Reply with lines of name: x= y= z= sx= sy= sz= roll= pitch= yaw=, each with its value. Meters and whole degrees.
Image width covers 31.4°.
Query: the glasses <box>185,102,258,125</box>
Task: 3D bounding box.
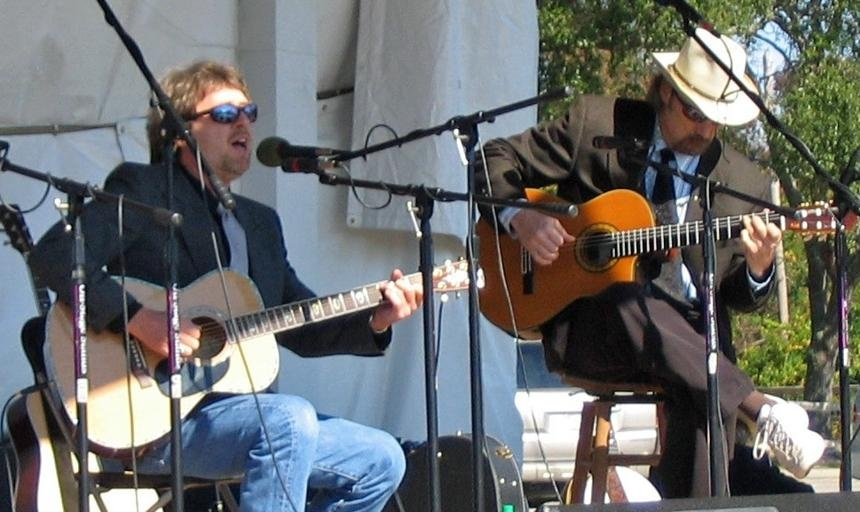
glasses: x=-1.426 y=-1.004 z=10.735 sx=0.286 sy=0.100 sz=0.228 roll=-8 pitch=3 yaw=23

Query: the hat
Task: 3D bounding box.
hat: x=1.985 y=-1.375 z=10.916 sx=0.701 sy=0.342 sz=0.801 roll=-15 pitch=31 yaw=-42

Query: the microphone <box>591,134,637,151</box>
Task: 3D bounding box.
microphone: x=1.345 y=-0.821 z=11.140 sx=0.360 sy=0.120 sz=0.092 roll=9 pitch=11 yaw=16

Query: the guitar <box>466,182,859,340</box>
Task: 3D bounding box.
guitar: x=1.701 y=0.024 z=11.095 sx=2.634 sy=1.193 sz=0.397 roll=-5 pitch=-6 yaw=19

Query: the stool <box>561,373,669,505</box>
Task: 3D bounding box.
stool: x=1.238 y=1.345 z=11.152 sx=0.777 sy=1.151 sz=0.847 roll=6 pitch=-7 yaw=-30

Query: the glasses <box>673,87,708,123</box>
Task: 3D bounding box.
glasses: x=1.839 y=-1.036 z=10.841 sx=0.218 sy=0.233 sz=0.070 roll=12 pitch=-51 yaw=-44

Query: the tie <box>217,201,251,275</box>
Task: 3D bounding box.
tie: x=-1.372 y=-0.114 z=10.762 sx=0.246 sy=0.467 sz=0.101 roll=-11 pitch=1 yaw=-31

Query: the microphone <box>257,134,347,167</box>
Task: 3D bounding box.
microphone: x=-0.873 y=-0.709 z=10.427 sx=0.627 sy=0.243 sz=0.225 roll=-3 pitch=5 yaw=16

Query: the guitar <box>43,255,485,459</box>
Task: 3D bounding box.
guitar: x=-1.229 y=0.598 z=10.925 sx=3.112 sy=1.386 sz=0.342 roll=-16 pitch=1 yaw=-18
